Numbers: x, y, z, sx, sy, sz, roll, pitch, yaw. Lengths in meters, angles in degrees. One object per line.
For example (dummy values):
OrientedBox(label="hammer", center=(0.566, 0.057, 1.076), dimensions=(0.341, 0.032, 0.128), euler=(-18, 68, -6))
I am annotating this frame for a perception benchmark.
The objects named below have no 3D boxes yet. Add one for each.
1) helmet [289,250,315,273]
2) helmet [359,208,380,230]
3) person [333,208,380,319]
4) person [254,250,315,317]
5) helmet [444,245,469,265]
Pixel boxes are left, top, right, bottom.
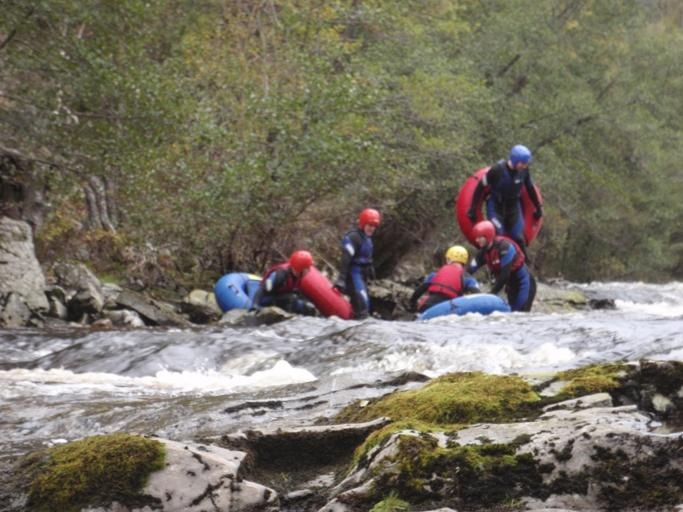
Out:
OrientedBox(label="helmet", center=(-1.100, 0.132, 32.532), dimensions=(0.596, 0.568, 0.364), euler=(1, 2, -5))
OrientedBox(label="helmet", center=(0.774, -1.043, 33.164), dimensions=(0.502, 0.567, 0.617), euler=(-1, 43, -11))
OrientedBox(label="person", center=(0.406, 0.188, 33.141), dimensions=(1.097, 2.948, 0.910), euler=(1, 2, -5))
OrientedBox(label="person", center=(-1.493, 0.703, 32.563), dimensions=(1.588, 1.727, 0.586), euler=(1, 2, -8))
OrientedBox(label="helmet", center=(3.136, -0.024, 32.754), dimensions=(0.616, 0.546, 0.480), euler=(20, 2, 15))
